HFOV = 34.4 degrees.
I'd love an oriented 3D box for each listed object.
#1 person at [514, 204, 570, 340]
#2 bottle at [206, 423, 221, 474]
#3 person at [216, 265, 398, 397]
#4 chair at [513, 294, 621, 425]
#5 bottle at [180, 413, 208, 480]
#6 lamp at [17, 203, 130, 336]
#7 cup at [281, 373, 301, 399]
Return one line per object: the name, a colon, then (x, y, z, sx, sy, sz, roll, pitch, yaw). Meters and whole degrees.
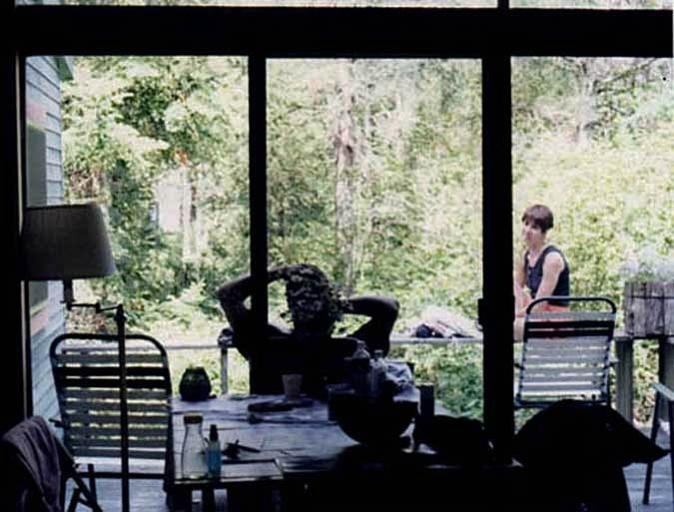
person: (1.129, 0.089, 6.012, 0.294, 0.762, 0.203, -1, -2, 14)
bottle: (-0.503, 0.792, 4.438, 0.052, 0.202, 0.079, 0, -2, -27)
person: (-0.118, 0.346, 5.311, 0.866, 0.618, 0.367, 1, -3, -36)
chair: (1.290, 0.768, 6.115, 0.564, 0.652, 1.029, -2, 23, 17)
bottle: (-0.597, 0.782, 4.537, 0.111, 0.248, 0.275, 0, -2, -9)
lamp: (-1.217, 0.013, 4.882, 0.438, 0.501, 0.428, -11, 16, -44)
cup: (-0.209, 0.608, 5.129, 0.091, 0.101, 0.097, -1, -10, 0)
